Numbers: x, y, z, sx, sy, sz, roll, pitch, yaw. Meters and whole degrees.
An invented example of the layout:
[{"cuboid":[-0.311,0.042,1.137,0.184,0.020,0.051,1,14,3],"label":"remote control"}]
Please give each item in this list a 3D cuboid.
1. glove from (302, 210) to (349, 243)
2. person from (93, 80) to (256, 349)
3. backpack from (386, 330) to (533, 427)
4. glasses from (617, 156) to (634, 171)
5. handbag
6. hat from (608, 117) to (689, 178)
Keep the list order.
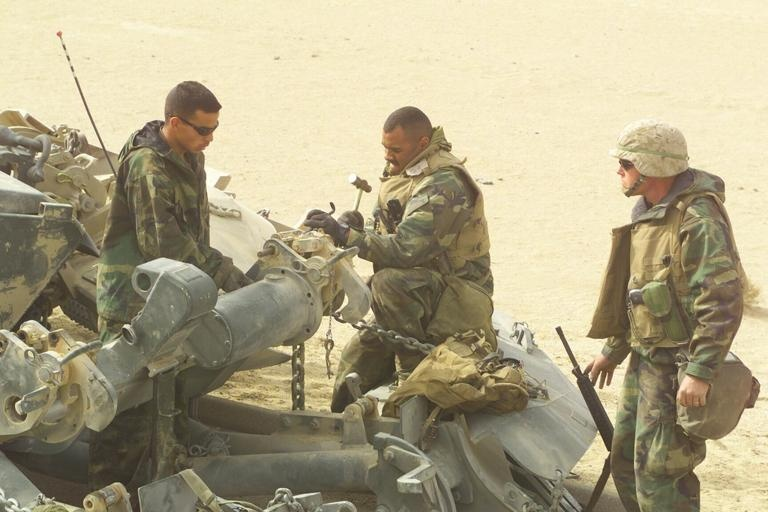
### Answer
[{"cuboid":[-0.491,-0.254,9.956,0.380,0.292,0.165,4,6,-22],"label":"glove"},{"cuboid":[-1.845,-0.384,9.755,1.259,2.249,0.773,6,6,6],"label":"person"},{"cuboid":[0.669,0.988,9.360,0.850,0.421,0.658,-2,5,-10],"label":"backpack"},{"cuboid":[2.017,-0.773,9.492,0.100,0.045,0.096,26,-2,-31],"label":"glasses"},{"cuboid":[2.688,1.113,9.202,0.617,0.652,0.255,3,6,-28],"label":"handbag"},{"cuboid":[2.225,-0.918,9.559,0.684,0.421,0.499,1,17,6],"label":"hat"}]
